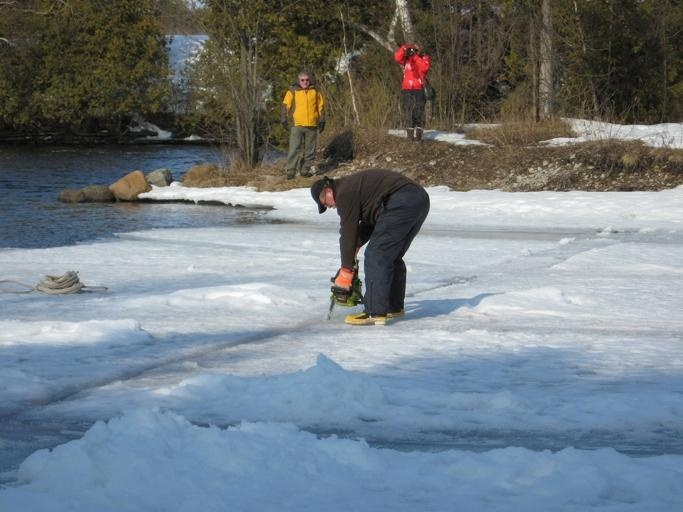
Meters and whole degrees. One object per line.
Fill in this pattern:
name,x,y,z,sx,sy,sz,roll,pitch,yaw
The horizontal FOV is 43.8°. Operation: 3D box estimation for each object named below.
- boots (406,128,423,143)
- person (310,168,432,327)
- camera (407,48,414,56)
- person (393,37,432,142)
boots,1.673,-2.747,19.265,0.441,0.252,0.332,2,1,-4
person,0.286,-0.086,8.452,1.164,1.548,0.479,0,8,-4
camera,1.449,-4.326,17.980,0.113,0.176,0.228,-1,6,-12
person,1.578,-3.604,18.581,0.986,2.053,1.057,-1,15,-25
